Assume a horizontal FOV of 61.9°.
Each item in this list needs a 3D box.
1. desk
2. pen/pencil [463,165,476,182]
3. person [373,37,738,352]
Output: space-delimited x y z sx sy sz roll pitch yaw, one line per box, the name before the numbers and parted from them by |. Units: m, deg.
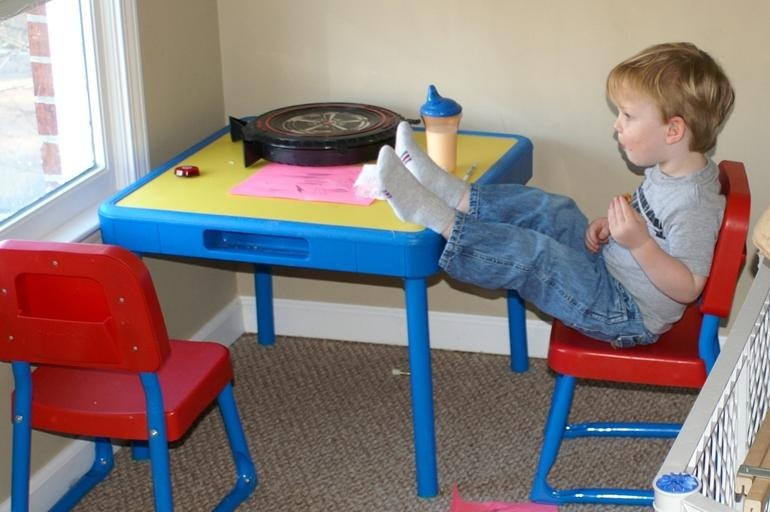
desk | -0.090 0.111 2.219 1.184 0.840 1.130 3 21 17
pen/pencil | 0.248 -0.239 1.856 0.019 0.018 0.113 39 32 2
person | 0.465 -0.164 1.776 0.937 0.712 0.482 2 28 25
